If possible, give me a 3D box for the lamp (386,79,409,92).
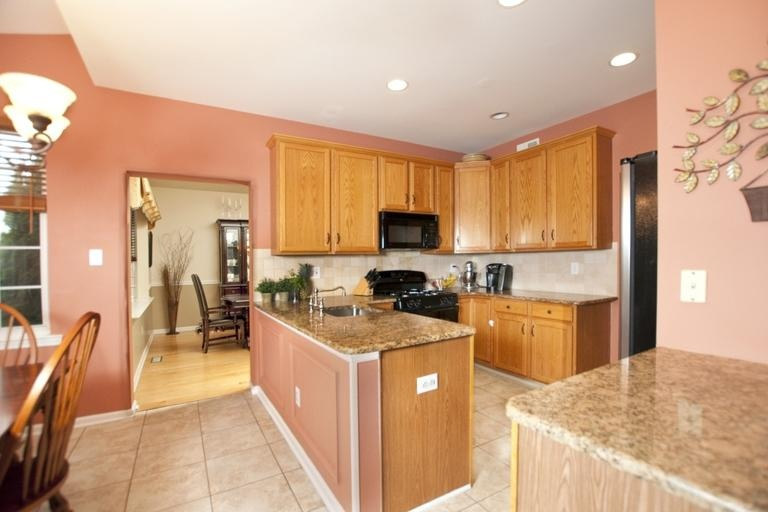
[{"bbox_3d":[0.112,-1.482,4.317,0.176,0.039,0.154,-1,-2,-1],"label":"lamp"}]

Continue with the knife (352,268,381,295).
[{"bbox_3d":[-0.184,0.301,5.273,0.084,0.332,0.186,30,-19,-30],"label":"knife"}]

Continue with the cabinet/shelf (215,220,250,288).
[{"bbox_3d":[-2.239,-0.046,7.733,0.630,1.002,0.297,-3,11,-28],"label":"cabinet/shelf"}]

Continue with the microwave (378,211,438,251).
[{"bbox_3d":[0.247,-0.232,5.398,0.645,0.290,0.289,0,-3,-15],"label":"microwave"}]

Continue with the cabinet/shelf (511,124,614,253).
[{"bbox_3d":[1.759,-0.636,4.840,0.415,1.318,1.299,2,-5,-29],"label":"cabinet/shelf"}]

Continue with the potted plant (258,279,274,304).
[{"bbox_3d":[-1.094,0.320,4.643,0.210,0.205,0.194,0,-7,1],"label":"potted plant"}]

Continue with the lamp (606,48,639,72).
[{"bbox_3d":[1.922,-1.577,4.011,0.208,0.047,0.215,-2,-2,26],"label":"lamp"}]

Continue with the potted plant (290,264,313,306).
[{"bbox_3d":[-0.795,0.275,5.068,0.205,0.368,0.195,-1,4,-6],"label":"potted plant"}]

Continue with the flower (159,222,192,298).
[{"bbox_3d":[-2.981,0.117,7.217,0.461,1.041,0.377,-1,-1,-25],"label":"flower"}]

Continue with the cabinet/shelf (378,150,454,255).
[{"bbox_3d":[0.489,-0.557,5.616,1.124,1.009,0.378,12,16,40],"label":"cabinet/shelf"}]

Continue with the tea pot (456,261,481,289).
[{"bbox_3d":[0.999,0.223,5.917,0.330,0.357,0.235,-2,3,-7],"label":"tea pot"}]

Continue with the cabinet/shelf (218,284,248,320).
[{"bbox_3d":[-2.010,0.616,6.624,0.524,0.456,0.211,1,-2,-39],"label":"cabinet/shelf"}]

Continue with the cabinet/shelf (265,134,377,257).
[{"bbox_3d":[-0.607,-0.523,5.000,1.191,1.107,0.342,-1,4,-37],"label":"cabinet/shelf"}]

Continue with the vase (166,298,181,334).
[{"bbox_3d":[-3.005,0.865,7.089,0.124,0.491,0.189,-1,-1,-32],"label":"vase"}]

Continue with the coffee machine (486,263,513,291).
[{"bbox_3d":[1.292,0.242,5.627,0.321,0.372,0.281,7,-9,-31],"label":"coffee machine"}]

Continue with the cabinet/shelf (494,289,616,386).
[{"bbox_3d":[1.637,0.786,4.986,0.678,0.871,0.981,-7,9,-43],"label":"cabinet/shelf"}]

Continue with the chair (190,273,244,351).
[{"bbox_3d":[-2.151,0.738,6.513,0.613,0.913,0.597,-2,0,-28],"label":"chair"}]
